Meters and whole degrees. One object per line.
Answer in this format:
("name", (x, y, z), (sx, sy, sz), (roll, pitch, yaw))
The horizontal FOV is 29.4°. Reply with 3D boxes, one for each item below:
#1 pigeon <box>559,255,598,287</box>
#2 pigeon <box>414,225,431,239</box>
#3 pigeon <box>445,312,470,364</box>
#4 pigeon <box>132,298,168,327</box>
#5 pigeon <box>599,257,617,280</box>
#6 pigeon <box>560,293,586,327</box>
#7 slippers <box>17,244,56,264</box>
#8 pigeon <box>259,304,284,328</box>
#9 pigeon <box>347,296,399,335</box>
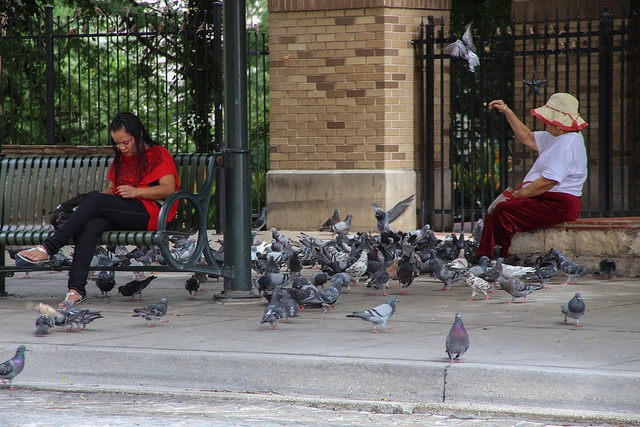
("pigeon", (3.354, 0.753, 16.019), (0.693, 0.354, 0.211), (1, -7, -4))
("pigeon", (1.495, 0.289, 17.869), (0.124, 0.173, 0.390), (8, 19, 39))
("pigeon", (1.363, 1.245, 12.083), (0.220, 0.453, 0.482), (-1, 4, 6))
("pigeon", (-1.913, 1.115, 13.601), (0.208, 0.301, 0.557), (-10, -10, 39))
("pigeon", (3.932, 0.770, 16.646), (0.256, 0.259, 0.281), (-3, 17, 8))
("pigeon", (2.808, 1.066, 13.449), (0.230, 0.381, 0.387), (-1, 4, 11))
("slippers", (-3.419, 0.506, 14.489), (0.398, 0.232, 0.636), (-2, 3, -13))
("pigeon", (-0.536, 1.156, 13.462), (0.265, 0.276, 0.542), (-2, 3, -2))
("pigeon", (0.582, 1.126, 13.180), (0.432, 0.359, 0.738), (0, 3, 16))
